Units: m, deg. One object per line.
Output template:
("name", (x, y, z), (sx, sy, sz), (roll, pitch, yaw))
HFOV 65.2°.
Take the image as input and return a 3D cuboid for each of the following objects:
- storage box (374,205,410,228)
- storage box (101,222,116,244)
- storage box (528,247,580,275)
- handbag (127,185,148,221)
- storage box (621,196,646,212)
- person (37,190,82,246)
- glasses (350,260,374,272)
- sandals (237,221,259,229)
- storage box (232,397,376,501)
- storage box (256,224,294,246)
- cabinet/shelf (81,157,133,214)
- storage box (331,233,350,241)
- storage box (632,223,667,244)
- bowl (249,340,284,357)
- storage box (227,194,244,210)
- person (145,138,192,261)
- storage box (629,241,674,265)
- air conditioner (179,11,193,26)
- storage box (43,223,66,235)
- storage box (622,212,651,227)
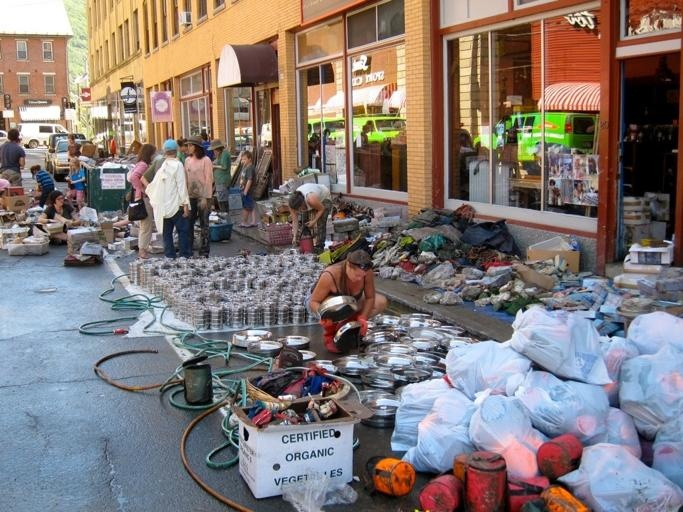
("storage box", (1.114, -0.945, 12.749), (0.788, 0.457, 0.564), (-1, 11, 1))
("storage box", (-6.002, -0.603, 13.715), (0.258, 0.549, 0.266), (-8, 12, -30))
("storage box", (3.597, 0.028, 9.018), (0.535, 0.323, 0.538), (5, 7, 43))
("handbag", (-4.679, -1.074, 12.153), (0.396, 0.485, 0.827), (-7, 12, -27))
("storage box", (4.745, -0.857, 8.680), (0.255, 0.150, 0.249), (5, 17, 26))
("person", (-7.700, -1.082, 14.583), (0.917, 1.259, 1.197), (-11, 12, -35))
("glasses", (0.231, 0.117, 6.191), (0.154, 0.081, 0.193), (2, -2, -29))
("sandals", (-2.838, -0.932, 16.108), (0.538, 0.142, 0.230), (1, 3, -34))
("storage box", (-0.264, 1.385, 3.770), (0.874, 0.434, 0.669), (-3, 17, -20))
("storage box", (-1.790, -0.563, 13.751), (0.506, 0.328, 0.798), (-6, 9, -27))
("cabinet/shelf", (-8.022, -2.260, 17.867), (1.640, 2.045, 2.885), (-3, 9, -18))
("storage box", (-0.024, -0.483, 12.499), (0.238, 0.147, 0.252), (-5, 6, -39))
("storage box", (4.992, -0.383, 8.693), (0.379, 0.251, 0.203), (-4, 5, -24))
("bowl", (-0.915, 1.133, 6.596), (0.409, 0.118, 0.418), (-1, 11, 0))
("storage box", (-3.571, -1.881, 17.896), (0.639, 0.600, 0.454), (-8, 13, -24))
("person", (-3.660, -1.005, 11.343), (0.811, 2.111, 0.550), (-5, 11, -17))
("storage box", (4.528, -0.031, 7.824), (0.417, 0.170, 0.406), (2, 9, 20))
("air conditioner", (-7.425, -11.426, 25.549), (0.608, 0.787, 1.117), (1, 0, -13))
("storage box", (-7.729, -0.727, 14.409), (0.509, 0.389, 0.314), (-6, 12, -23))
("storage box", (4.847, -0.624, 8.726), (0.403, 0.213, 0.137), (-1, 11, 5))
